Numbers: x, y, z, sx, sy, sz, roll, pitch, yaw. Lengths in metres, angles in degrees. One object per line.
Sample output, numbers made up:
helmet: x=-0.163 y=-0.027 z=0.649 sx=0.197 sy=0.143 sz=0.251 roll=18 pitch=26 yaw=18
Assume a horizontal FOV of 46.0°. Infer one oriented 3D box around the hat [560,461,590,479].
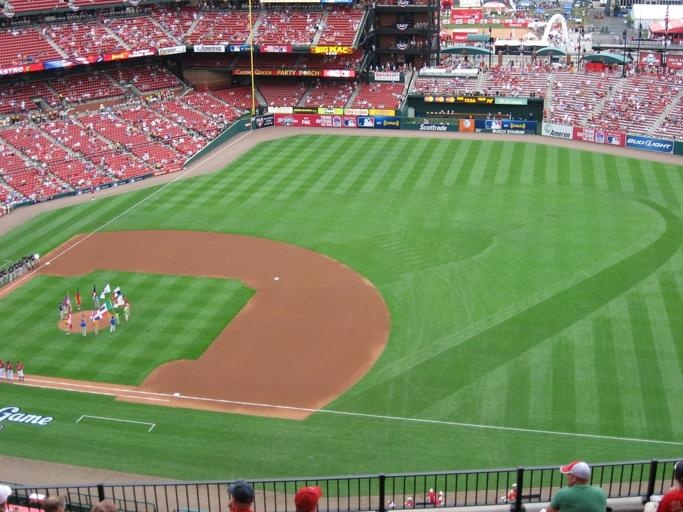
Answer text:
hat: x=6.534 y=6.045 z=22.852 sx=0.894 sy=0.388 sz=0.600 roll=6 pitch=7 yaw=32
